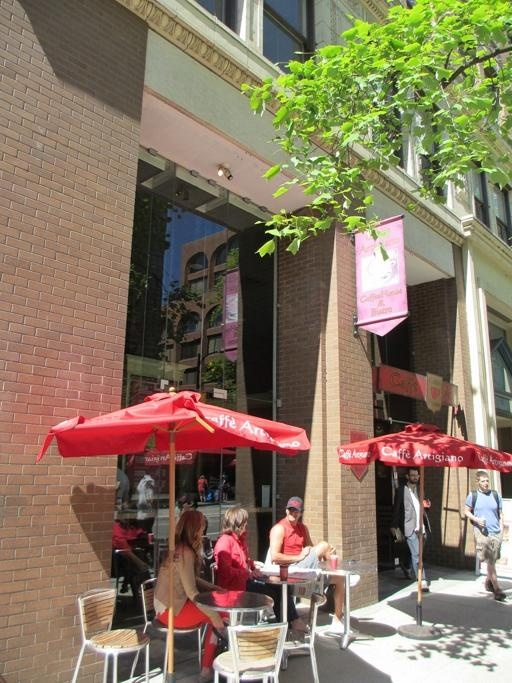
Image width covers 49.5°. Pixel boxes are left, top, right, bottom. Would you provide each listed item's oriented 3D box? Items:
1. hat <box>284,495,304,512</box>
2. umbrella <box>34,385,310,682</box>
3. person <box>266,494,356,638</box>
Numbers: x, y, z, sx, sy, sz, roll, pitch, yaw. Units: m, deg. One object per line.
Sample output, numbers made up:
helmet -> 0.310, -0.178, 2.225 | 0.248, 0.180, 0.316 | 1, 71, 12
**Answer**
hat -> 0.434, 1.813, 6.261 | 0.191, 0.156, 0.279 | 7, -25, 12
umbrella -> -0.651, 1.541, 4.412 | 1.797, 2.223, 2.173 | -1, -11, 21
person -> 0.614, 2.550, 6.289 | 0.971, 1.418, 0.662 | -3, -14, 20
